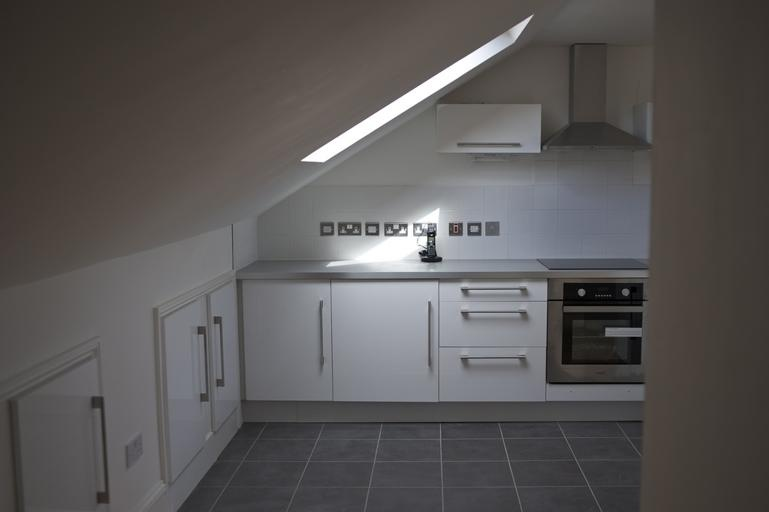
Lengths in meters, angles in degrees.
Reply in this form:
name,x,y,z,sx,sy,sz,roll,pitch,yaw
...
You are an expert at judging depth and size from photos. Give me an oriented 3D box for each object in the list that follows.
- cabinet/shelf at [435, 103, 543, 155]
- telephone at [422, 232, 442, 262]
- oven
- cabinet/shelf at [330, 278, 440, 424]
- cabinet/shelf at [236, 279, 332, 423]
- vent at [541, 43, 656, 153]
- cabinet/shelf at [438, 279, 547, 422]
name,x,y,z,sx,sy,sz,roll,pitch,yaw
cabinet/shelf,0.581,-0.719,3.447,0.577,0.267,0.106,-1,7,-4
telephone,0.273,-0.060,3.644,0.104,0.186,0.101,-7,9,-42
oven,1.144,0.381,3.388,0.534,0.568,0.381,-1,11,3
cabinet/shelf,0.004,0.455,3.465,0.704,0.746,0.519,0,3,-2
cabinet/shelf,-0.567,0.518,3.444,0.586,0.718,0.556,4,-22,-23
vent,1.182,-0.917,3.510,0.531,0.605,0.344,1,7,14
cabinet/shelf,0.607,0.533,3.401,0.582,0.684,0.457,-1,-26,12
